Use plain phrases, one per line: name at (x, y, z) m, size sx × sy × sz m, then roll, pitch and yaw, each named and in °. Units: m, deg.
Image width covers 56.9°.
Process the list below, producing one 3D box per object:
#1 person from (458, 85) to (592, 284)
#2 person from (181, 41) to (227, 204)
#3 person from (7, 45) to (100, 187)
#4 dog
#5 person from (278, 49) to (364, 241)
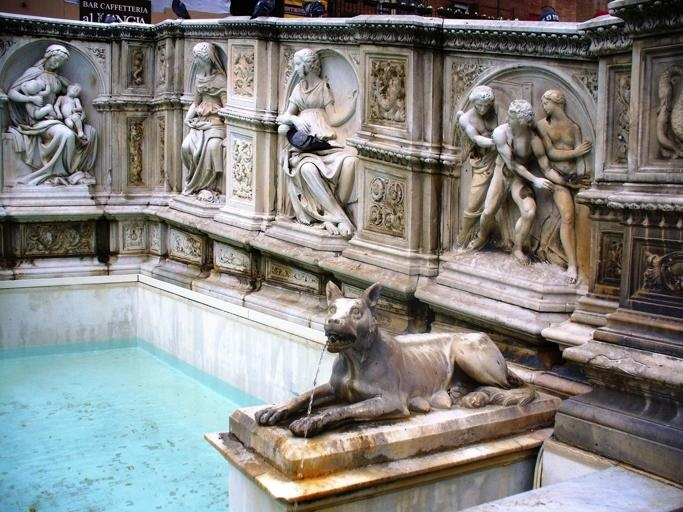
person at (1.397, -0.541, 4.675) m, size 1.186 × 1.620 × 0.557 m, roll 4°, pitch 8°, yaw 41°
person at (-1.676, -1.613, 7.639) m, size 0.643 × 1.825 × 0.260 m, roll 6°, pitch 11°, yaw 30°
person at (-3.727, -1.799, 8.103) m, size 1.062 × 1.754 × 0.321 m, roll -4°, pitch 11°, yaw -25°
dog at (0.421, 0.567, 3.986) m, size 1.694 × 0.946 × 0.790 m, roll -1°, pitch -1°, yaw -29°
person at (-0.216, -1.122, 6.272) m, size 0.398 × 1.818 × 0.931 m, roll -8°, pitch 13°, yaw -40°
